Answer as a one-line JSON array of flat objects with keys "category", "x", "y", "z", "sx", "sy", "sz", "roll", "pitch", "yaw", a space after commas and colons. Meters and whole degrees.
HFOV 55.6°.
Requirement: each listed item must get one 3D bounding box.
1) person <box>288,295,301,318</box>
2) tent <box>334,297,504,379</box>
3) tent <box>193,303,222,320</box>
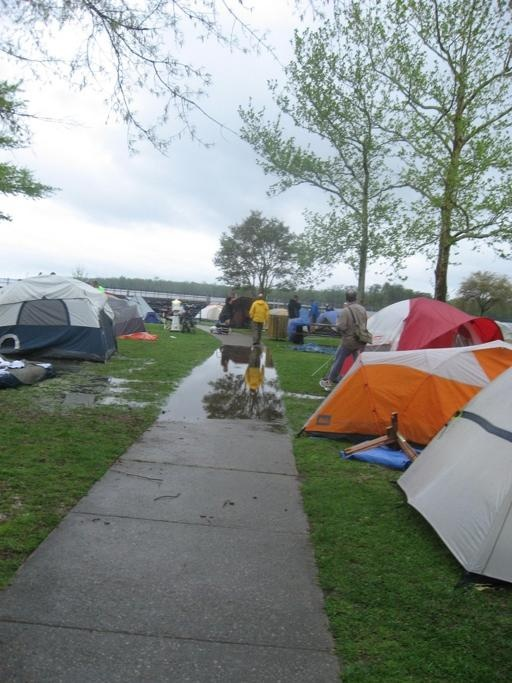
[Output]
[{"category": "person", "x": 1.899, "y": -1.724, "z": 24.576, "sx": 0.631, "sy": 1.231, "sz": 1.904, "roll": 6, "pitch": 5, "yaw": 5}, {"category": "tent", "x": 3.336, "y": -0.328, "z": 10.419, "sx": 2.377, "sy": 0.954, "sz": 2.347, "roll": 3, "pitch": 8, "yaw": 43}, {"category": "tent", "x": -3.911, "y": -2.357, "z": 38.921, "sx": 2.535, "sy": 0.921, "sz": 3.133, "roll": 0, "pitch": 12, "yaw": 2}]
